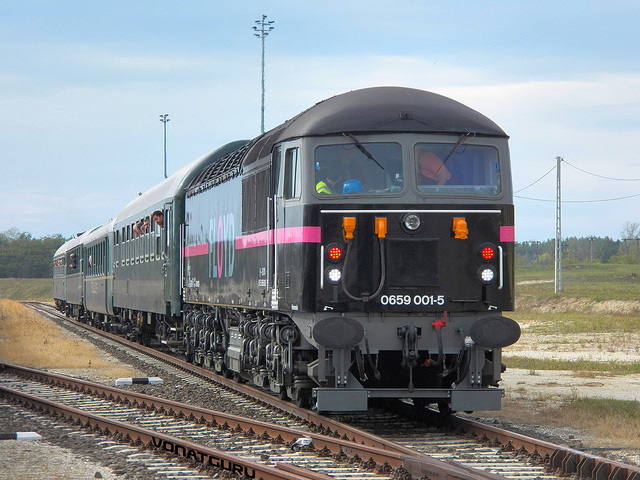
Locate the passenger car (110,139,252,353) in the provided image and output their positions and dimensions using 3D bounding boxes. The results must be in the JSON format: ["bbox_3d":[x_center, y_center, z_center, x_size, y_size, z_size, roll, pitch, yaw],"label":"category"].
[{"bbox_3d":[-3.261,0.572,29.350,3.305,6.082,15.410,-1,-1,-13],"label":"passenger car"}]

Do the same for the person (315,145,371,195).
[{"bbox_3d":[0.451,-1.222,15.906,0.624,0.999,0.248,2,-1,1],"label":"person"}]

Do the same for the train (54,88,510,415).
[{"bbox_3d":[-2.306,0.628,26.703,4.434,6.559,23.472,1,-1,-15],"label":"train"}]
